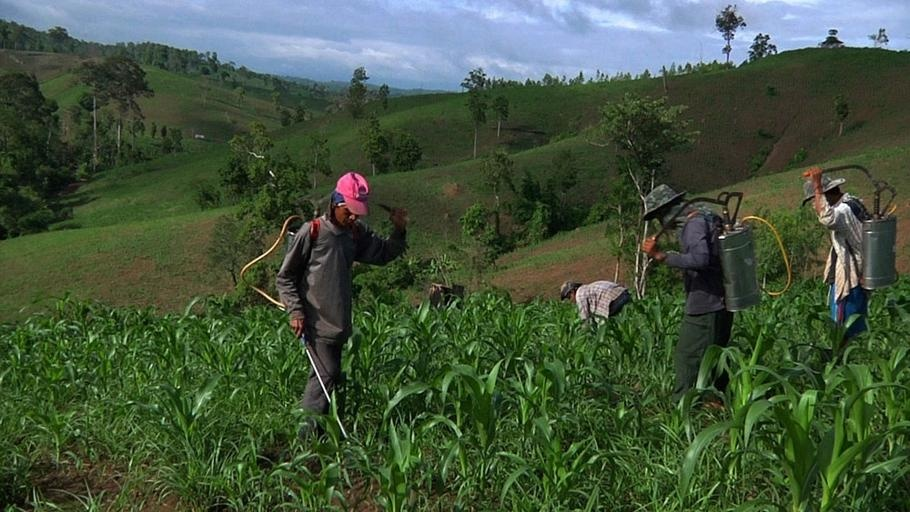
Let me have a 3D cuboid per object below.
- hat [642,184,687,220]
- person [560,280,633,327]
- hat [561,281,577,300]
[{"bbox_3d":[3.313,-0.847,10.858,0.580,0.245,0.655,-33,-1,0],"label":"hat"},{"bbox_3d":[2.782,0.928,13.028,1.195,0.778,2.202,3,15,2],"label":"person"},{"bbox_3d":[2.345,0.722,13.891,0.223,0.430,0.303,47,-2,4],"label":"hat"}]
